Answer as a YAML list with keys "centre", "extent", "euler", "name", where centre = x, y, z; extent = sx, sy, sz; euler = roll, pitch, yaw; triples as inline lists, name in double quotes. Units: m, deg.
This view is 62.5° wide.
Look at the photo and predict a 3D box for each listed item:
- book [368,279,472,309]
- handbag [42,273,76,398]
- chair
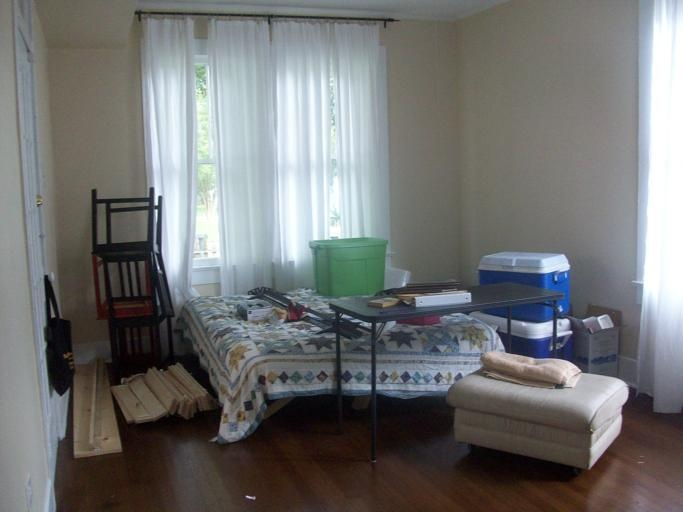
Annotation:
- centre: [0.488, 0.239, 3.529]
  extent: [0.634, 0.092, 0.494]
  euler: [-1, 12, 1]
  name: "book"
- centre: [-1.789, 0.543, 3.542]
  extent: [0.148, 0.827, 0.451]
  euler: [-8, 13, -26]
  name: "handbag"
- centre: [-1.837, 0.202, 4.947]
  extent: [0.633, 1.561, 0.904]
  euler: [-6, 13, -20]
  name: "chair"
